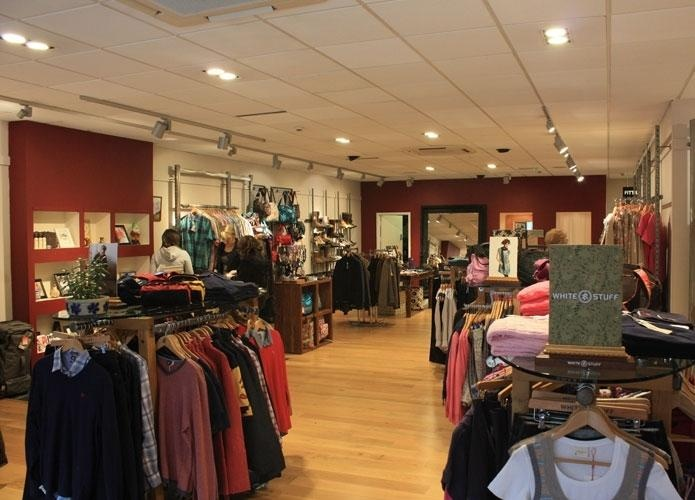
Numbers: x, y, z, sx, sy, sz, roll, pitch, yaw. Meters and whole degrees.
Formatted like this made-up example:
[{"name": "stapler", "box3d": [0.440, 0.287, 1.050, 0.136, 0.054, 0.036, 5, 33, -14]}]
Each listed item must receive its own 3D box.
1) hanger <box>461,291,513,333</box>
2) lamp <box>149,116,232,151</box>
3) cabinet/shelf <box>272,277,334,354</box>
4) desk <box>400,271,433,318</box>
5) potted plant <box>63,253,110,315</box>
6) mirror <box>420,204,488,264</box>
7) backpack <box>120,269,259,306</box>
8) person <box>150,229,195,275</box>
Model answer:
[{"name": "hanger", "box3d": [1.338, 0.582, 4.775, 0.416, 0.191, 0.550, -3, -2, 3]}, {"name": "lamp", "box3d": [-1.971, -1.466, 6.381, 0.989, 0.264, 0.175, 12, 12, -7]}, {"name": "cabinet/shelf", "box3d": [-0.621, 0.889, 8.769, 0.408, 0.839, 0.960, 9, 21, 33]}, {"name": "desk", "box3d": [1.702, 0.987, 12.069, 0.713, 1.014, 1.951, 1, 4, 10]}, {"name": "potted plant", "box3d": [-1.818, 0.241, 3.481, 0.272, 0.404, 0.404, -2, 4, -25]}, {"name": "mirror", "box3d": [2.795, -0.529, 12.860, 1.841, 1.860, 0.070, 3, 15, 14]}, {"name": "backpack", "box3d": [-1.255, 0.306, 3.933, 0.558, 0.264, 0.910, 3, 5, 44]}, {"name": "person", "box3d": [-2.473, 0.250, 7.026, 0.650, 1.069, 0.378, 0, 29, -20]}]
